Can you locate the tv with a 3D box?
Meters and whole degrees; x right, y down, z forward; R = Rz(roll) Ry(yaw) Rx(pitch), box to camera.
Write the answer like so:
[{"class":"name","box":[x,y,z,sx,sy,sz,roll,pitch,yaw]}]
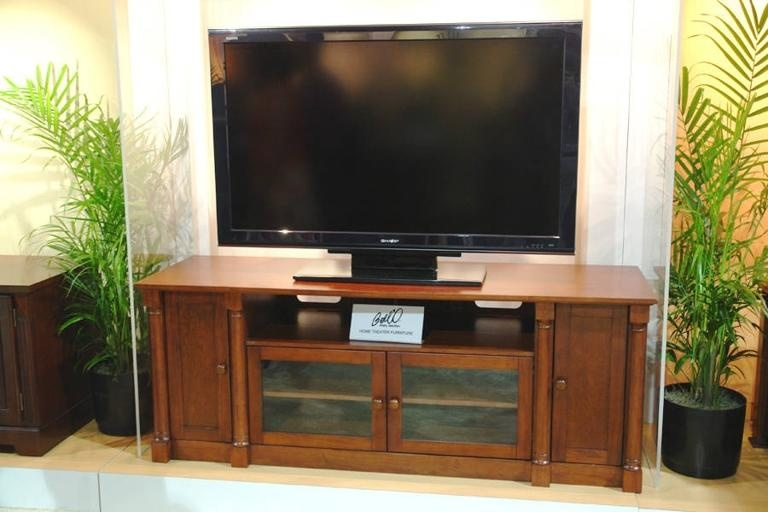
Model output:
[{"class":"tv","box":[0.074,-0.524,3.125,1.387,0.866,0.346,1,18,5]}]
